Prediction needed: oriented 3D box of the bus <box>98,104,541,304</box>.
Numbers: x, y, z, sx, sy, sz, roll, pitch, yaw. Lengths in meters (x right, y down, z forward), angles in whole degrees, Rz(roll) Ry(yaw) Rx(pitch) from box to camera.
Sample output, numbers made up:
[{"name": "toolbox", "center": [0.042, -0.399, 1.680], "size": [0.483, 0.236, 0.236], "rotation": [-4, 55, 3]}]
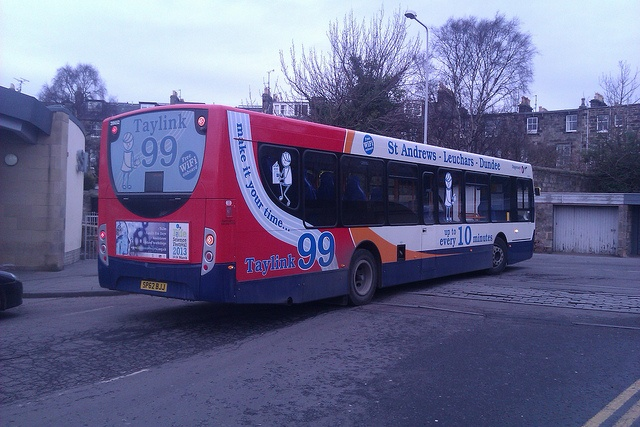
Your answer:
[{"name": "bus", "center": [1.587, 0.043, 15.336], "size": [4.252, 4.609, 14.851], "rotation": [-1, 0, 45]}]

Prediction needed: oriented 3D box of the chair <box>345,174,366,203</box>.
[{"name": "chair", "center": [0.860, -0.601, 12.349], "size": [0.464, 0.575, 0.487], "rotation": [3, 6, 12]}]
